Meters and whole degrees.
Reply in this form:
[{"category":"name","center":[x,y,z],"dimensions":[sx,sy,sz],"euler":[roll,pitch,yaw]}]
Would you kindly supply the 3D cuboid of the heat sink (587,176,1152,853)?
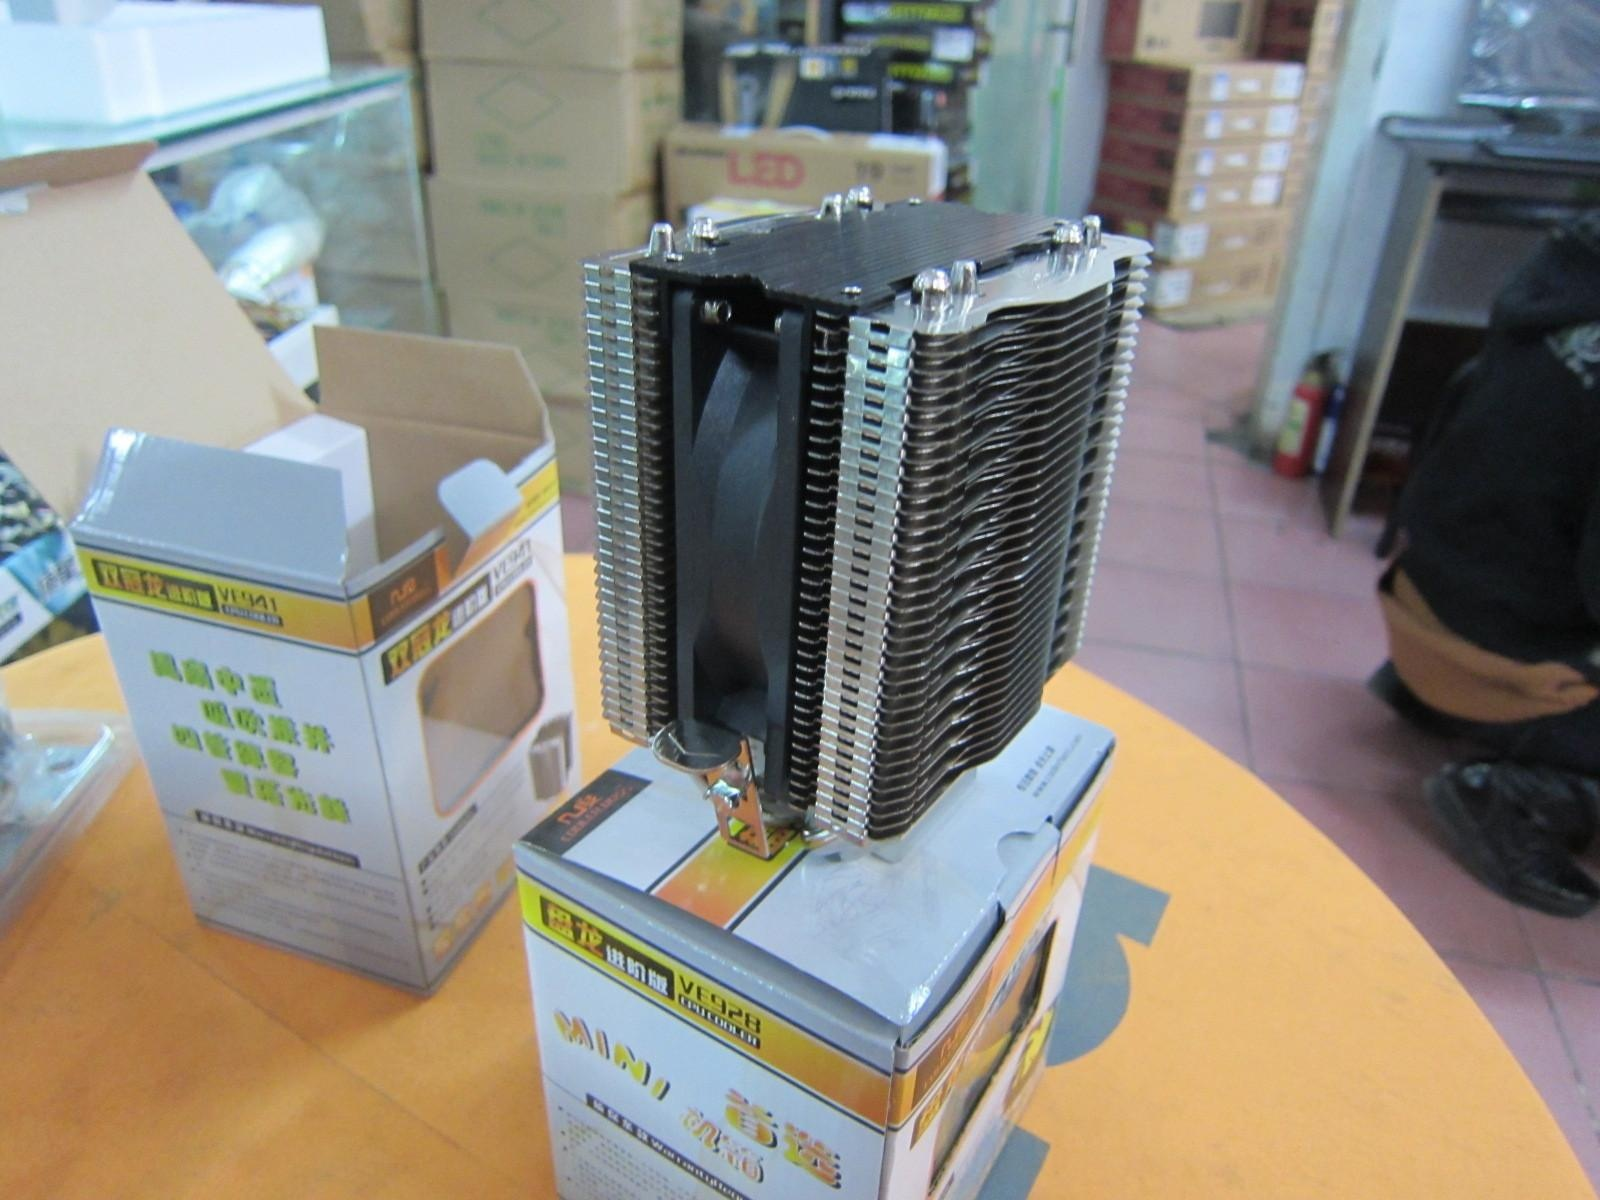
[{"category":"heat sink","center":[0.062,-0.096,1.101],"dimensions":[0.350,0.405,0.413],"euler":[23,29,38]}]
